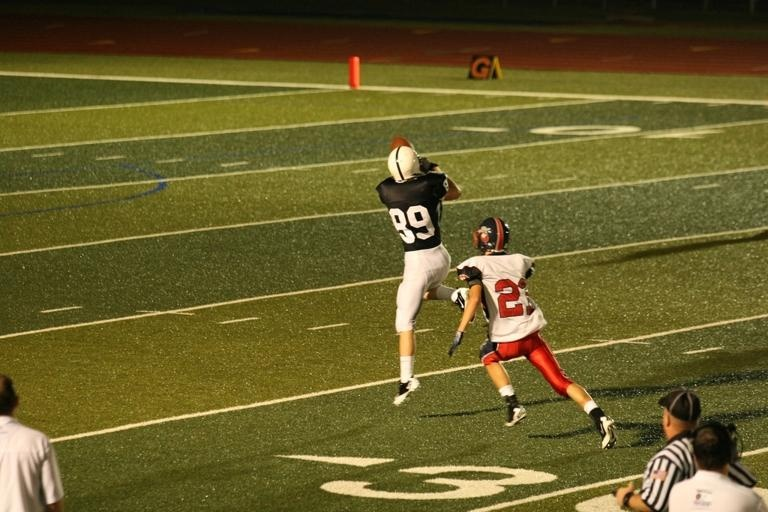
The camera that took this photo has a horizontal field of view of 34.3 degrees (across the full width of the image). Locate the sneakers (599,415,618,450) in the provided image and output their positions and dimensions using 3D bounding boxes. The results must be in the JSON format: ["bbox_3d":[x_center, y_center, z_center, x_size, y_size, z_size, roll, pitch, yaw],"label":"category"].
[{"bbox_3d":[2.187,1.703,12.083,0.156,0.324,0.161,-14,22,-17],"label":"sneakers"}]

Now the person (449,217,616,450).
[{"bbox_3d":[1.437,0.740,12.594,1.305,2.327,0.926,-7,5,19],"label":"person"}]

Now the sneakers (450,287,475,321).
[{"bbox_3d":[0.815,0.472,13.027,0.159,0.296,0.109,-9,39,5],"label":"sneakers"}]

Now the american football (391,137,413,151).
[{"bbox_3d":[0.189,-1.256,13.775,0.298,0.187,0.350,1,1,6],"label":"american football"}]

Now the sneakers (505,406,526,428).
[{"bbox_3d":[1.324,1.603,12.600,0.214,0.242,0.306,-8,4,1],"label":"sneakers"}]

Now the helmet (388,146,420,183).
[{"bbox_3d":[0.222,-1.011,13.532,0.334,0.391,0.227,-8,5,0],"label":"helmet"}]

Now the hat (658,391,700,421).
[{"bbox_3d":[2.324,1.150,9.844,0.236,0.155,0.283,-11,28,-21],"label":"hat"}]

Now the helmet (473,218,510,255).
[{"bbox_3d":[1.137,-0.252,12.848,0.339,0.361,0.403,-4,20,-35],"label":"helmet"}]
